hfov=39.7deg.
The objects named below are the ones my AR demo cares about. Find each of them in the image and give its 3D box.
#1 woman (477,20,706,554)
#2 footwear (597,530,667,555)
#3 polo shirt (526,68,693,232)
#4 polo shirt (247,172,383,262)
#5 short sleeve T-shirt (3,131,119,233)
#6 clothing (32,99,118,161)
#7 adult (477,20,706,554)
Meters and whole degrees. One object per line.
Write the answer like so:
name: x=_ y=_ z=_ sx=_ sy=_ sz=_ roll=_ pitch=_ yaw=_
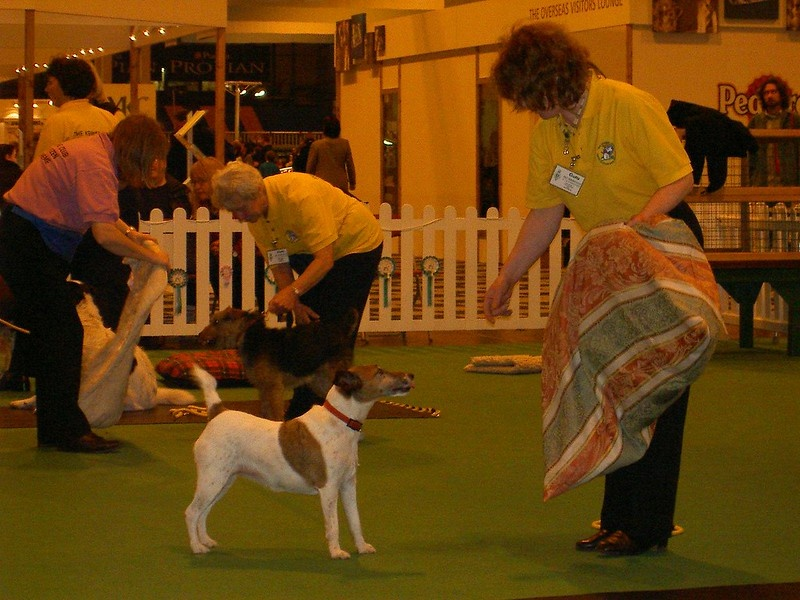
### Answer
woman: x=1.010 y=-0.027 z=5.445 sx=1.127 sy=2.595 sz=0.693 roll=3 pitch=9 yaw=19
footwear: x=1.174 y=1.221 z=5.581 sx=0.341 sy=0.103 sz=0.120 roll=3 pitch=-4 yaw=-7
polo shirt: x=1.010 y=-0.706 z=5.586 sx=0.894 sy=0.695 sz=0.436 roll=-5 pitch=18 yaw=37
polo shirt: x=-0.569 y=-0.513 z=7.186 sx=0.897 sy=0.519 sz=0.727 roll=-15 pitch=5 yaw=-20
short sleeve T-shirt: x=-2.142 y=-0.709 z=6.919 sx=0.694 sy=0.626 sz=0.408 roll=-1 pitch=8 yaw=-10
clothing: x=-2.588 y=-1.300 z=9.003 sx=0.764 sy=0.518 sz=0.400 roll=-11 pitch=6 yaw=-43
adult: x=1.010 y=-0.027 z=5.445 sx=1.127 sy=2.595 sz=0.694 roll=3 pitch=9 yaw=19
